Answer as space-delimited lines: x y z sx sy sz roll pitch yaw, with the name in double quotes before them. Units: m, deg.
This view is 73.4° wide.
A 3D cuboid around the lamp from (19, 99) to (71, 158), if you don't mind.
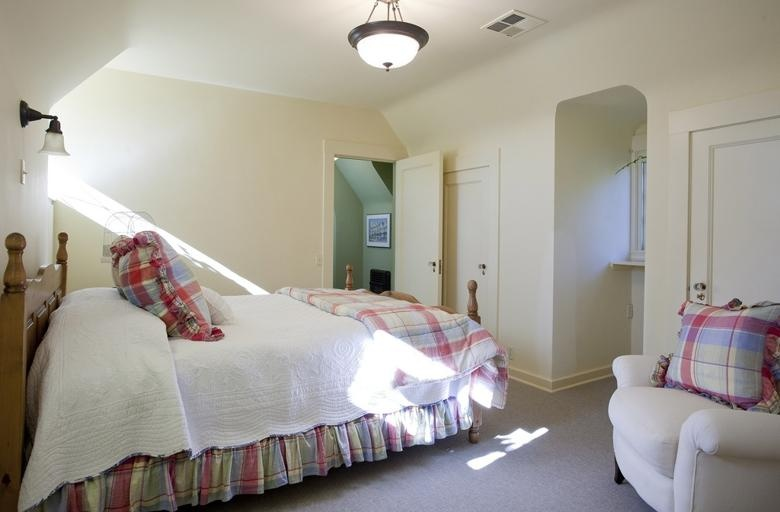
"lamp" -2.318 -0.863 3.647 0.305 0.424 0.213 0 5 -17
